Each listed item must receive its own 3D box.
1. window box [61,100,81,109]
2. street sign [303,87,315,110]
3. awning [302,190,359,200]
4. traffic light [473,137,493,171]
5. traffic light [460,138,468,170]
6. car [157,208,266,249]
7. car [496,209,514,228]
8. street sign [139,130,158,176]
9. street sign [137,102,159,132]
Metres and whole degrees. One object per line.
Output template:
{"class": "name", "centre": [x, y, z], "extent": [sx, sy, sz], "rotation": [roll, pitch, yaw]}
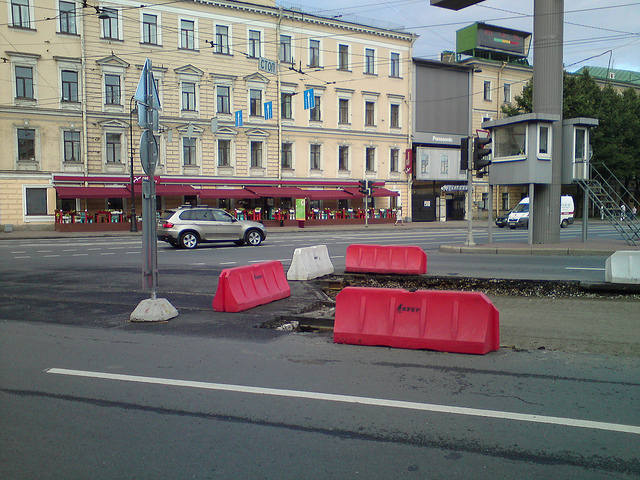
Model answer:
{"class": "window box", "centre": [-13.722, -7.444, 40.516], "extent": [1.014, 0.415, 0.213], "rotation": [-6, 6, -22]}
{"class": "street sign", "centre": [-0.587, -7.410, 38.471], "extent": [0.483, 1.067, 1.839], "rotation": [-3, 6, -3]}
{"class": "awning", "centre": [0.699, -3.047, 49.353], "extent": [3.329, 0.699, 1.255], "rotation": [-8, 8, -36]}
{"class": "traffic light", "centre": [5.558, -2.939, 25.359], "extent": [0.551, 1.122, 0.887], "rotation": [-1, 6, 15]}
{"class": "traffic light", "centre": [5.022, -2.952, 25.508], "extent": [0.196, 1.042, 0.477], "rotation": [-1, 6, 9]}
{"class": "car", "centre": [-4.325, -0.519, 28.829], "extent": [3.683, 1.486, 1.644], "rotation": [-2, 3, -30]}
{"class": "car", "centre": [11.224, -1.212, 44.244], "extent": [0.889, 0.821, 2.027], "rotation": [3, 12, 32]}
{"class": "street sign", "centre": [-3.393, -1.717, 14.560], "extent": [0.312, 0.897, 0.451], "rotation": [-4, 6, -16]}
{"class": "street sign", "centre": [-3.402, -2.464, 14.637], "extent": [0.067, 0.584, 0.624], "rotation": [-2, -2, 38]}
